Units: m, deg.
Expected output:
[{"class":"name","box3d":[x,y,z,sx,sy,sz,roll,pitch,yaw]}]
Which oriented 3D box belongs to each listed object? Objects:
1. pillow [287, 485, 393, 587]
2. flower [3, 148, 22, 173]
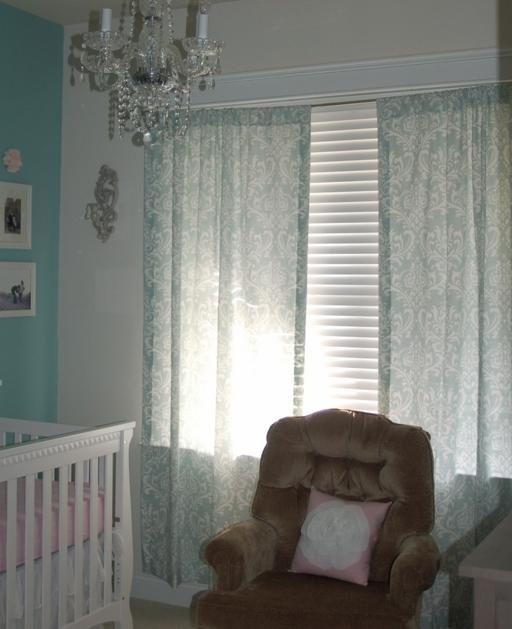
[{"class":"pillow","box3d":[0.281,0.838,2.229,0.332,0.114,0.384,4,34,37]},{"class":"flower","box3d":[-1.152,-0.726,2.969,0.035,0.114,0.140,1,-1,15]}]
